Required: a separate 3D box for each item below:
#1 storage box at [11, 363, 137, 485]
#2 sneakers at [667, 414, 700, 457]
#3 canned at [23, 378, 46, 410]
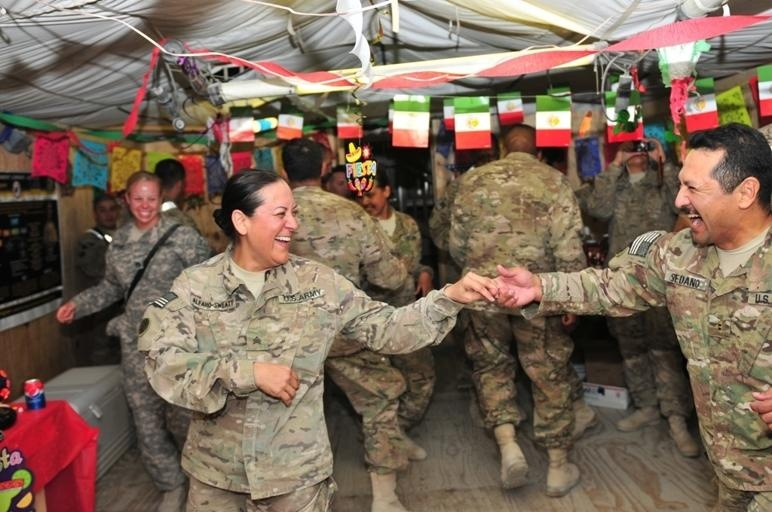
[{"bbox_3d":[-2.690,1.426,5.300,0.899,0.900,1.385,-3,5,7],"label":"storage box"},{"bbox_3d":[2.630,1.580,4.940,0.143,0.266,0.400,-23,3,6],"label":"sneakers"},{"bbox_3d":[-2.536,0.987,4.027,0.137,0.191,0.190,-8,10,-14],"label":"canned"}]
